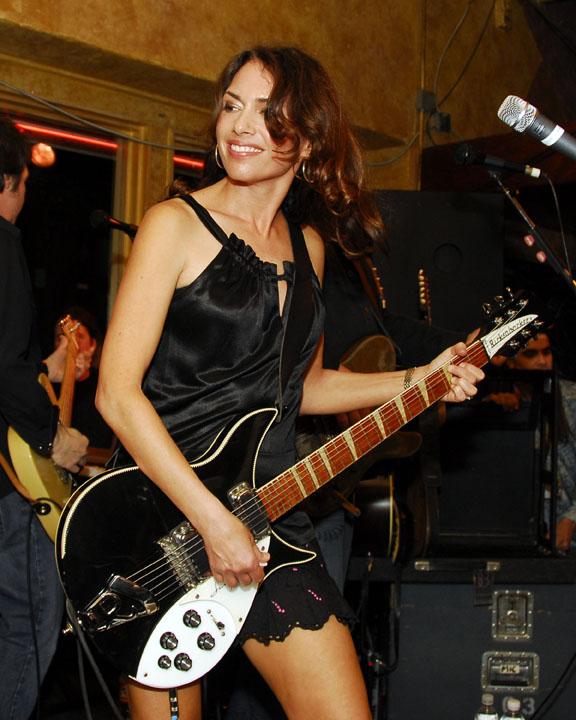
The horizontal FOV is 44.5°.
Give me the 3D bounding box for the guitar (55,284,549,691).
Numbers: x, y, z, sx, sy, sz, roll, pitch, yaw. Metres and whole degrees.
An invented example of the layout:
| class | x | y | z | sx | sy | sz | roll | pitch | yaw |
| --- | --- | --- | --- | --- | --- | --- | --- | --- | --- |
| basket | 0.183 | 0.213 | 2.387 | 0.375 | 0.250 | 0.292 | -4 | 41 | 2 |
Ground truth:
| class | x | y | z | sx | sy | sz | roll | pitch | yaw |
| --- | --- | --- | --- | --- | --- | --- | --- | --- | --- |
| guitar | -0.014 | 0.303 | 1.481 | 0.885 | 0.618 | 0.201 | 0 | 7 | -42 |
